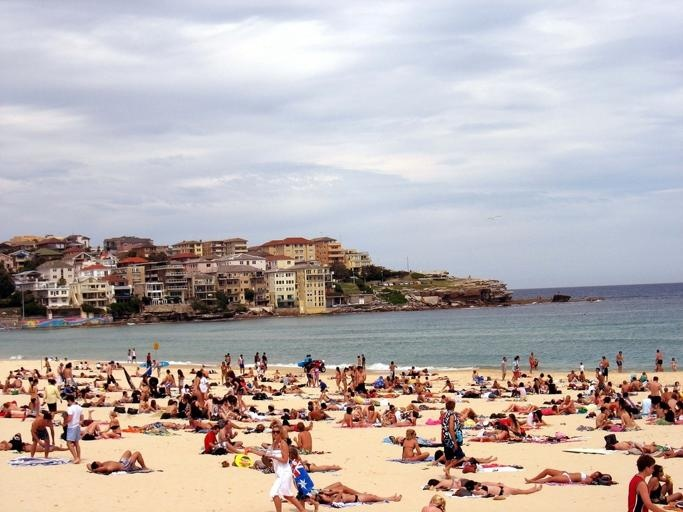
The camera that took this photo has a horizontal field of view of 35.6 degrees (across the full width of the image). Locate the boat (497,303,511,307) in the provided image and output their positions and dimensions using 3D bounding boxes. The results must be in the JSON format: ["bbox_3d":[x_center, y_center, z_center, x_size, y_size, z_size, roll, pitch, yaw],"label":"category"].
[{"bbox_3d":[27.775,8.343,182.266,1.983,0.546,9.005,-3,-3,12],"label":"boat"}]

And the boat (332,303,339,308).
[{"bbox_3d":[-1.002,7.932,168.781,1.286,0.545,3.157,-2,-2,0],"label":"boat"}]
